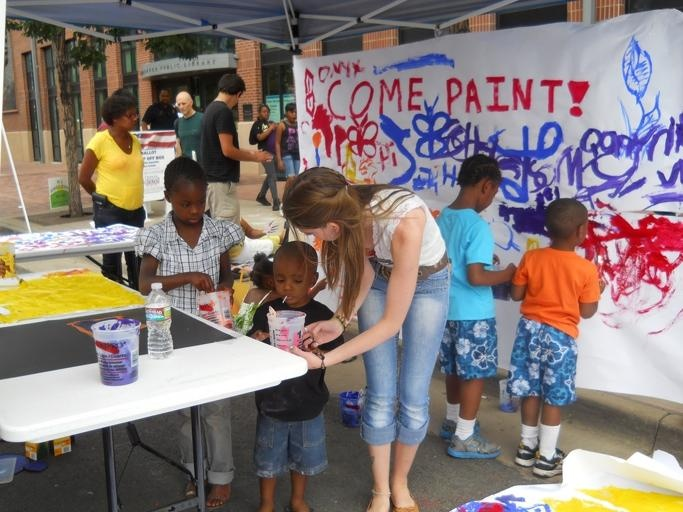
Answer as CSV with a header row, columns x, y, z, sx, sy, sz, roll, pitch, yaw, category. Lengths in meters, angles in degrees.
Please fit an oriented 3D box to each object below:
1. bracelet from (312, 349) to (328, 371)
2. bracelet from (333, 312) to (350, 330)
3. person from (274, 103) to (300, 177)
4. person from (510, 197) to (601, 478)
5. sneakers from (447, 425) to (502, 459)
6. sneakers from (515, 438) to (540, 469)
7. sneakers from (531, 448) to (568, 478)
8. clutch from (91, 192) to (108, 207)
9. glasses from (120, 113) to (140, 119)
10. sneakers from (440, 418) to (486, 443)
x,y,z,sx,sy,sz,roll,pitch,yaw,category
-0.104,0.483,2.458,0.036,0.091,0.065,-6,-4,-25,bracelet
-0.009,0.350,2.781,0.066,0.035,0.083,34,-1,1,bracelet
-1.163,-2.396,11.089,0.465,1.574,1.256,-2,14,-7,person
1.303,0.506,3.315,0.515,1.692,0.480,6,15,25,person
0.895,1.268,3.621,0.337,0.212,0.152,-1,0,-3,sneakers
1.202,1.283,3.413,0.083,0.098,0.216,3,5,35,sneakers
1.320,1.296,3.352,0.260,0.118,0.103,-4,3,-43,sneakers
-2.445,-0.572,5.331,0.129,0.112,0.208,20,-10,-32,clutch
-2.045,-1.346,5.112,0.043,0.080,0.135,11,17,39,glasses
0.895,1.235,3.830,0.357,0.153,0.119,-6,7,-37,sneakers
